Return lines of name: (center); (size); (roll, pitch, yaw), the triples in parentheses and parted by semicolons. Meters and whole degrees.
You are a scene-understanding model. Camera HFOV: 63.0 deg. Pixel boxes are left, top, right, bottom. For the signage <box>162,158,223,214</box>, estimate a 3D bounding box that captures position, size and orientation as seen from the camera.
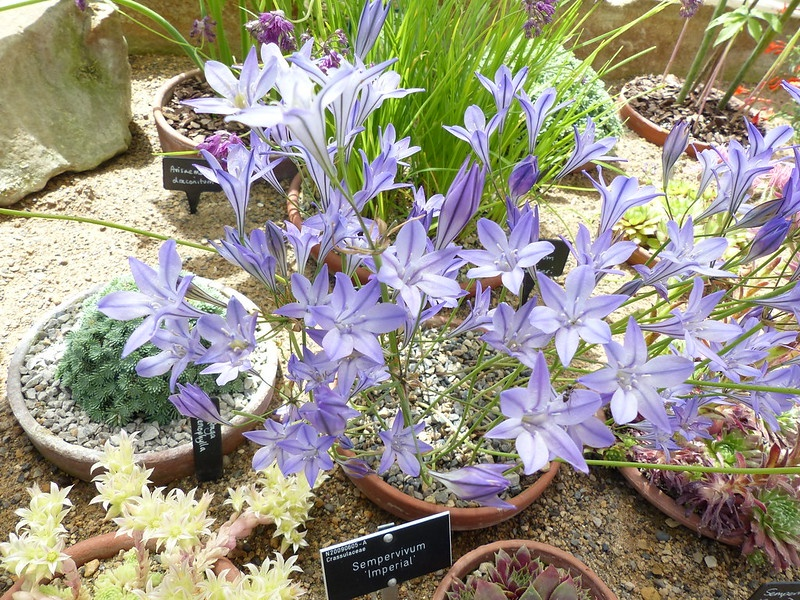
signage: (-0.934, -0.516, 2.936); (0.265, 0.293, 0.014); (-4, 49, -22)
